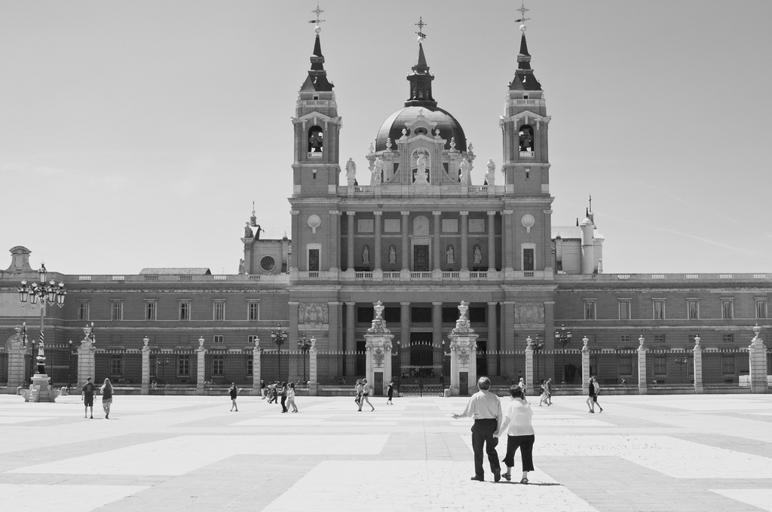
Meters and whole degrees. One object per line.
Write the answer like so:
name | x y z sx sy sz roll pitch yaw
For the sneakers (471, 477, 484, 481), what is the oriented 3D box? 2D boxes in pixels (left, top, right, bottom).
sneakers | 3.396 8.426 52.981 0.476 0.176 0.149 6 -6 19

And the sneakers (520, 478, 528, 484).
sneakers | 5.189 8.463 52.710 0.348 0.196 0.226 6 -10 -34
